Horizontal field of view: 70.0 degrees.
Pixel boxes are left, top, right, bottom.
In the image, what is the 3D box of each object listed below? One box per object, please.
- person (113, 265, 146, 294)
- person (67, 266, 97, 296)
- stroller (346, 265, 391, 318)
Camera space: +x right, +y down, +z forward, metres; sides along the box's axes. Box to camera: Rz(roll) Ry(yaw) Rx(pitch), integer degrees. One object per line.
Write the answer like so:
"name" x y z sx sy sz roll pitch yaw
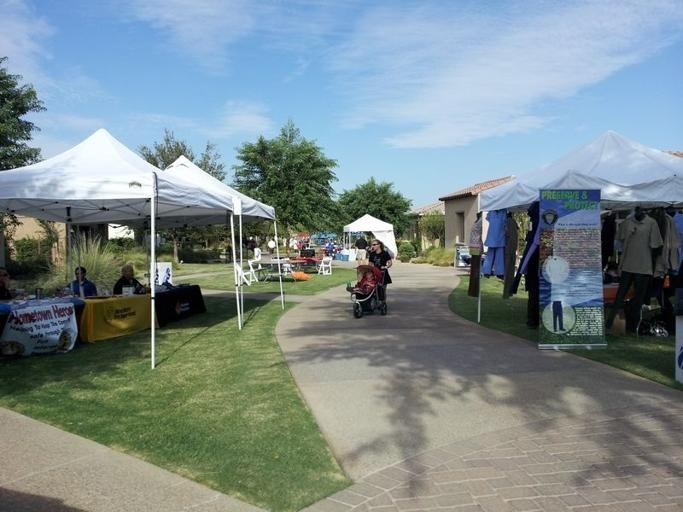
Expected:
"person" -5.798 0.651 13.310 0.498 0.652 0.820 -4 -2 17
"person" -6.211 0.624 11.670 0.753 0.810 0.492 -1 3 -19
"stroller" 0.653 0.905 12.318 0.938 1.125 1.501 -5 -8 32
